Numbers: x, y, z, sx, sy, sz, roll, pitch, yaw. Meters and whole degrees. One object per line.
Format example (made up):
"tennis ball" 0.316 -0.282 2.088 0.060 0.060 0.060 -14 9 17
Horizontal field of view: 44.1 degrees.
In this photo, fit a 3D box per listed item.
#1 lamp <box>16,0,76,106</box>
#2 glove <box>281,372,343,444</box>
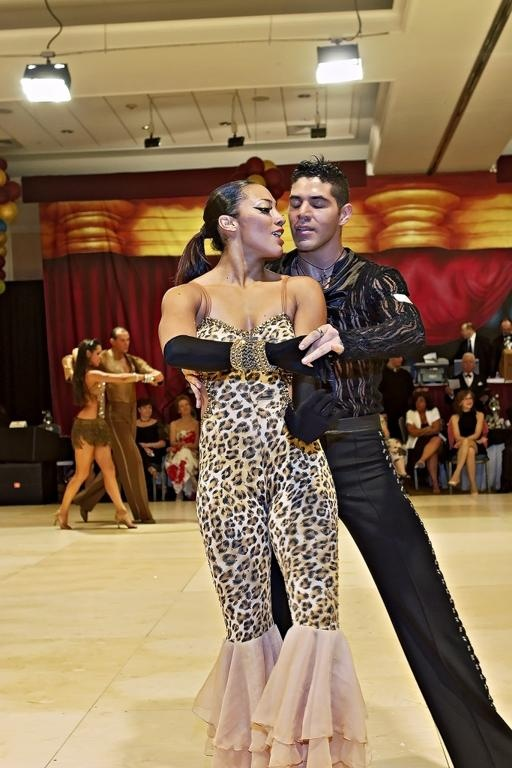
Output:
"lamp" -2.123 -3.282 6.404 0.427 0.916 1.172 -4 -1 -15
"glove" 0.120 0.048 1.196 0.124 0.120 0.034 -36 -25 22
